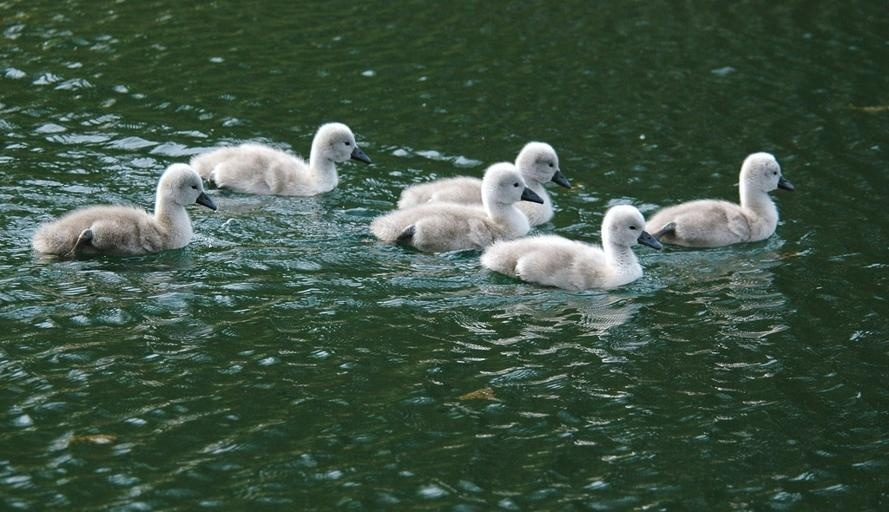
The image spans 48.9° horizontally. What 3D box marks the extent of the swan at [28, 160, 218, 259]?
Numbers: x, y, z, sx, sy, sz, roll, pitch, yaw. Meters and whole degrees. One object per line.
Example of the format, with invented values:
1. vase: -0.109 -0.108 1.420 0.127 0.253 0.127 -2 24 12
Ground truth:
1. swan: -5.074 -0.669 15.836 2.597 1.298 1.081 -17 35 -35

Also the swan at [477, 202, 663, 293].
1. swan: 2.694 -0.096 15.684 4.284 1.275 0.950 3 44 -1

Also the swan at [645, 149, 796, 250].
1. swan: 4.650 -0.890 16.860 4.509 1.446 1.031 -4 42 -14
